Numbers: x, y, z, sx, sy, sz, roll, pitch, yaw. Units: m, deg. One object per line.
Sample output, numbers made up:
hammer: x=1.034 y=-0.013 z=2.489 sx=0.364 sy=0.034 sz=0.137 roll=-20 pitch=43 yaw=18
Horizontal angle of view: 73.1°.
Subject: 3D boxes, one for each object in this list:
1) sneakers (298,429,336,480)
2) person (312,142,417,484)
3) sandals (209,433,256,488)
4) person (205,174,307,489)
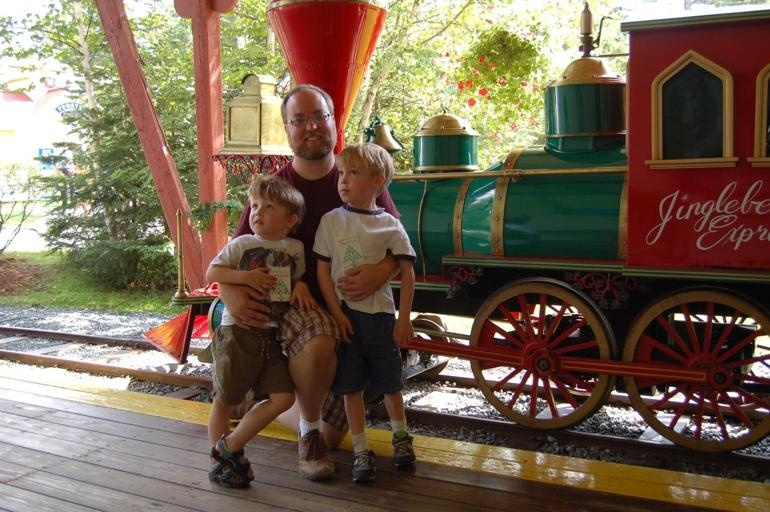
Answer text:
sneakers: x=-0.382 y=1.072 z=2.895 sx=0.200 sy=0.164 sz=0.394 roll=-4 pitch=11 yaw=-13
person: x=-0.096 y=0.289 z=2.881 sx=0.479 sy=1.809 sz=0.365 roll=-3 pitch=5 yaw=-30
sandals: x=-0.801 y=1.106 z=2.803 sx=0.323 sy=0.214 sz=0.158 roll=2 pitch=-2 yaw=28
person: x=-0.680 y=0.381 z=2.818 sx=0.538 sy=1.642 sz=0.380 roll=-1 pitch=5 yaw=-16
